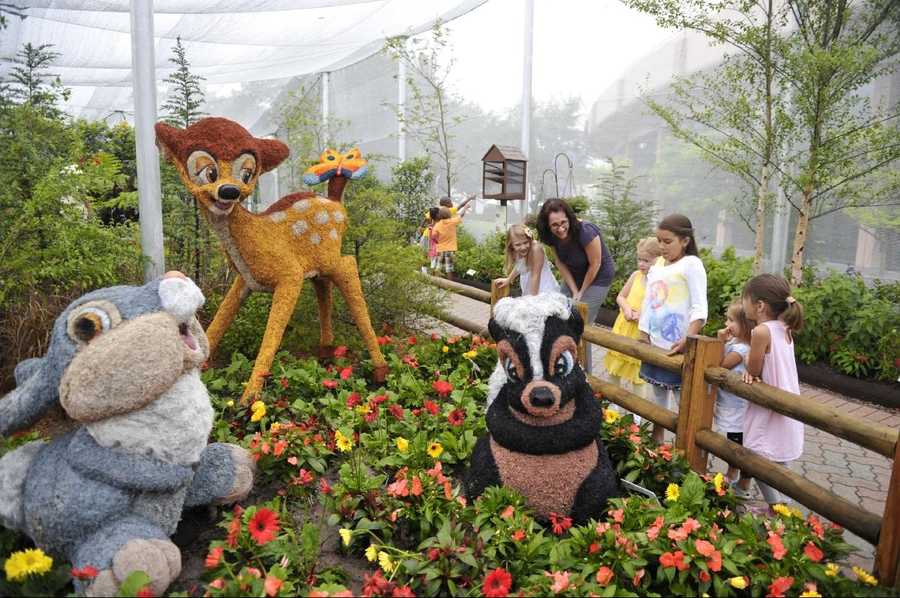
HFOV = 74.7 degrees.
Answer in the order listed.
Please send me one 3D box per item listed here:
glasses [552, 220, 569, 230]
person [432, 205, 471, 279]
[{"bbox_3d":[1.098,-0.730,5.883,0.192,0.093,0.079,-1,12,-17],"label":"glasses"},{"bbox_3d":[-0.085,-1.158,12.189,0.626,1.564,1.507,1,11,-2],"label":"person"}]
